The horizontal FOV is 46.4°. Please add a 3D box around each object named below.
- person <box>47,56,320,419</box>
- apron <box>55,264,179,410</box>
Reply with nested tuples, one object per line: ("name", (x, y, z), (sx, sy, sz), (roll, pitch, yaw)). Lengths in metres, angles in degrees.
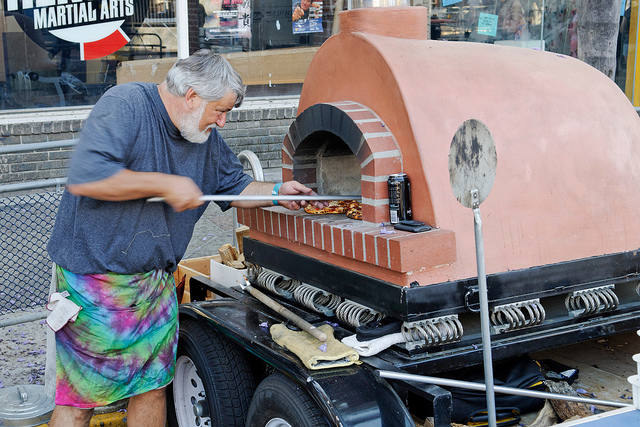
("person", (-1.118, 0.184, 5.073), (1.505, 2.447, 0.622), (-6, 16, -23))
("apron", (-1.382, 0.815, 5.019), (0.810, 0.894, 0.219), (-4, 15, -16))
